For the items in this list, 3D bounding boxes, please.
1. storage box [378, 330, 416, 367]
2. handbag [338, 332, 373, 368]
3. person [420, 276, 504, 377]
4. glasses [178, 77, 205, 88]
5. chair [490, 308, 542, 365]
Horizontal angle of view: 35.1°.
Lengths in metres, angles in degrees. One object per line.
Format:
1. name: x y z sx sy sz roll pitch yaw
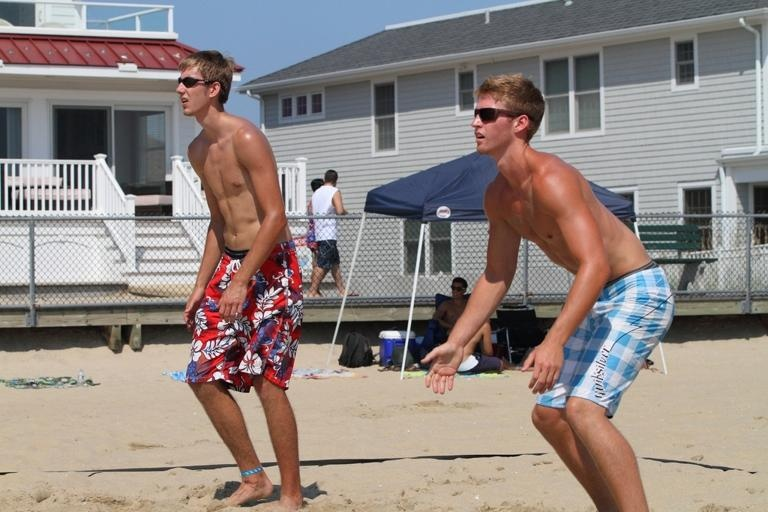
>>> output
1. storage box: 0.195 1.473 19.536 0.578 0.533 0.555 0 0 -6
2. handbag: -0.471 1.495 19.575 0.520 0.481 0.476 7 5 -37
3. person: 1.076 1.006 16.508 1.555 1.498 0.967 -5 -7 15
4. glasses: -2.106 -1.889 13.174 0.163 0.052 0.153 5 -5 -35
5. chair: 2.132 1.276 19.788 0.722 0.989 0.943 1 -5 7
